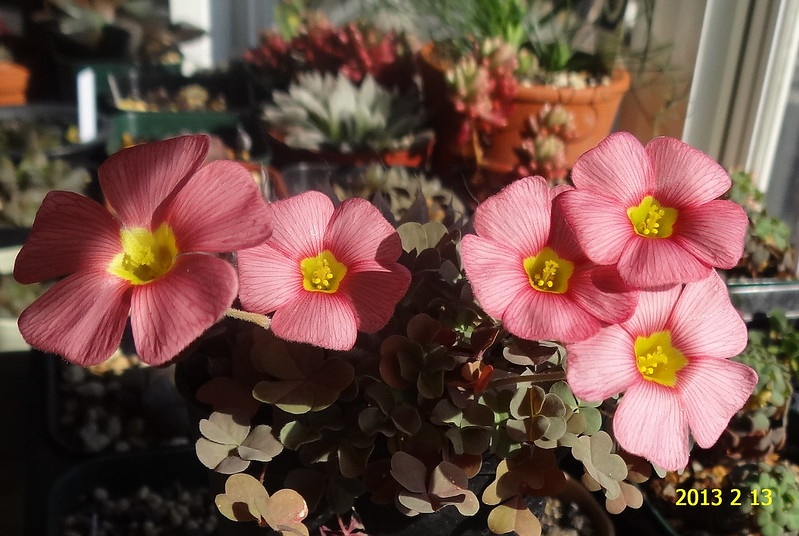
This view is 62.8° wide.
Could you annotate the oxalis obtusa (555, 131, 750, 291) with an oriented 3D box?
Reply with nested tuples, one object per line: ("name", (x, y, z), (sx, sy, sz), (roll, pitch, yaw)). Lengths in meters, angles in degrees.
("oxalis obtusa", (0.257, -0.052, 0.676), (0.172, 0.052, 0.183), (43, 20, 26))

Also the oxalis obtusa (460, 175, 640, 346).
("oxalis obtusa", (0.142, -0.012, 0.629), (0.155, 0.141, 0.095), (-4, 17, -20))
